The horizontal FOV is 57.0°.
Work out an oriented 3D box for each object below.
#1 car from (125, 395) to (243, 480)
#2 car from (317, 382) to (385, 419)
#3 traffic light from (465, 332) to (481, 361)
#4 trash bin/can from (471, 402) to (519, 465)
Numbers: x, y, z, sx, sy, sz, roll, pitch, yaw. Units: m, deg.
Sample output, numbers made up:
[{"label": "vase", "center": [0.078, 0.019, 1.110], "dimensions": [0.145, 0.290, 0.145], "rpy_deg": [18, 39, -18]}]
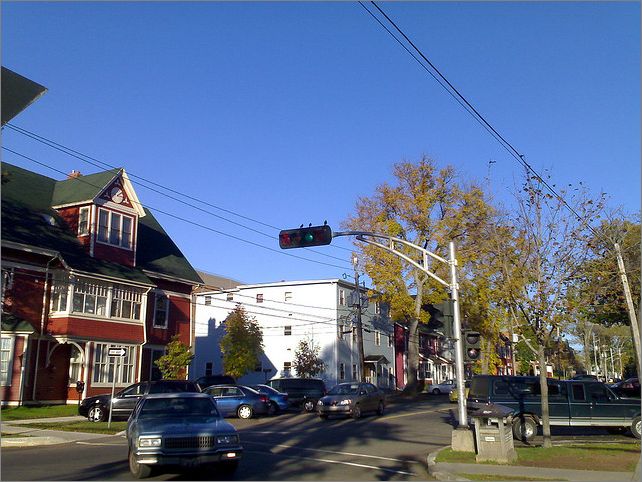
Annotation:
[{"label": "car", "center": [-3.877, 5.443, 16.662], "dimensions": [2.896, 2.279, 2.002], "rpy_deg": [3, -19, -14]}, {"label": "car", "center": [1.570, 8.393, 30.952], "dimensions": [1.571, 1.844, 3.695], "rpy_deg": [-15, -22, 35]}, {"label": "traffic light", "center": [5.301, 3.662, 20.697], "dimensions": [0.537, 1.059, 0.509], "rpy_deg": [-5, -19, 9]}, {"label": "trash bin/can", "center": [5.378, 6.271, 19.267], "dimensions": [1.708, 1.588, 1.731], "rpy_deg": [-9, -18, 39]}]
